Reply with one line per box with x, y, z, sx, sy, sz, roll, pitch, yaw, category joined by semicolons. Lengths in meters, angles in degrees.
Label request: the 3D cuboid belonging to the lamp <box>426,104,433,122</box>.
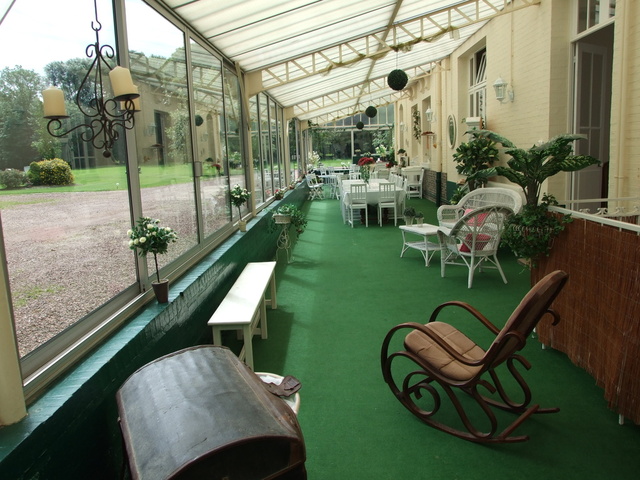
3.533;-4.113;14.192;0.163;0.432;0.751;2;12;13;lamp

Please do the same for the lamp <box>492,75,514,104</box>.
3.313;-2.758;8.071;0.364;0.420;0.521;0;12;7;lamp

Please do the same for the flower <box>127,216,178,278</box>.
-1.210;0.056;3.260;0.272;0.394;0.316;-9;9;-39;flower

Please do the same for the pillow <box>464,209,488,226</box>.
2.082;-0.278;5.906;0.228;0.072;0.252;-12;20;1;pillow

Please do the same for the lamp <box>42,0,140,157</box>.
-1.400;-1.047;2.742;0.484;1.052;1.050;-6;13;-22;lamp

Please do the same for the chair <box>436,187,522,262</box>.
2.623;-0.358;7.358;1.173;0.880;1.121;-9;14;-26;chair

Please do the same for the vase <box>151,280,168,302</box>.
-1.194;0.385;3.415;0.138;0.160;0.146;2;5;43;vase

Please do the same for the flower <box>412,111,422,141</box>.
3.775;-4.509;17.200;0.309;1.081;1.167;1;12;11;flower

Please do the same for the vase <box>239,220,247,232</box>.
-1.065;-0.200;6.162;0.130;0.169;0.135;0;0;4;vase

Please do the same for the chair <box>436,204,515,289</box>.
2.159;0.013;6.166;0.864;1.160;0.919;-5;11;-1;chair

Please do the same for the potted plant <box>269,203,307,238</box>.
-0.597;-0.272;8.148;0.704;0.589;0.742;3;14;7;potted plant

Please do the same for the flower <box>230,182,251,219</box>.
-1.145;-0.578;6.361;0.248;0.395;0.275;1;-5;-11;flower

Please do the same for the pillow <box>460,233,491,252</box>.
2.124;0.022;6.078;0.251;0.326;0.269;-1;30;6;pillow

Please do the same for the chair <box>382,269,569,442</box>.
1.120;0.802;3.295;0.719;1.242;1.177;-8;9;-39;chair
